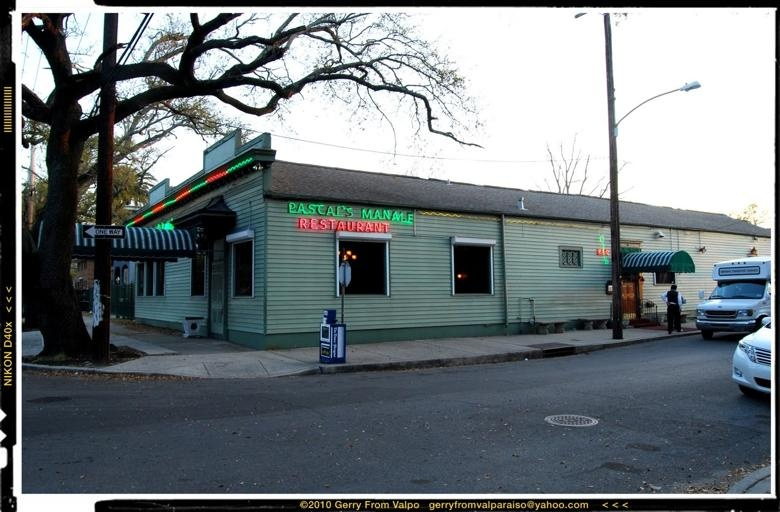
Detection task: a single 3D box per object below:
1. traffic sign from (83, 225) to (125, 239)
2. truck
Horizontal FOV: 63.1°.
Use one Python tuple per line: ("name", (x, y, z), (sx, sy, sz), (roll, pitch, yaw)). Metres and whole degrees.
("traffic sign", (-7.253, -0.589, 16.078), (0.950, 0.349, 0.551), (0, 2, -14))
("truck", (12.111, 1.520, 22.742), (1.826, 2.465, 4.852), (-8, -14, 44))
